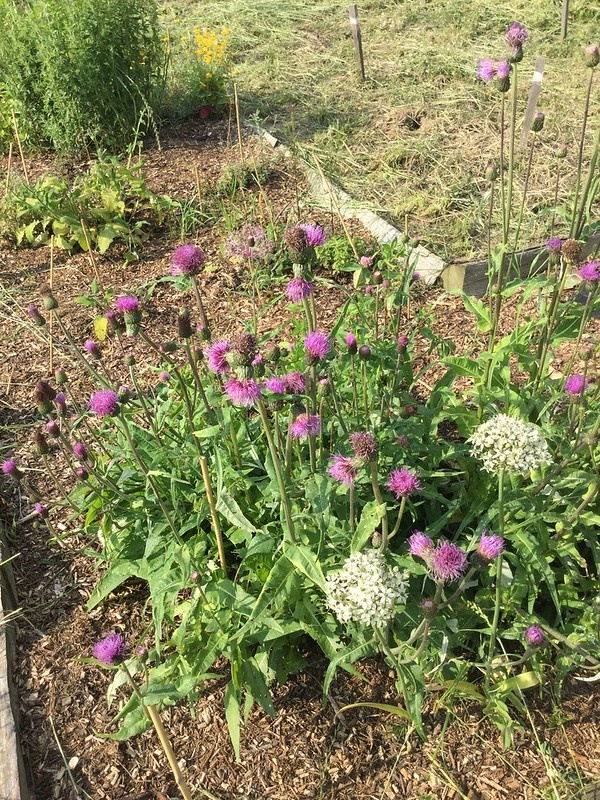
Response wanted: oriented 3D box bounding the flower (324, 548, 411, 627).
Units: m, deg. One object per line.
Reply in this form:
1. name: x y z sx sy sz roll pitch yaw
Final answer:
1. flower: 0.179 0.505 1.880 0.240 0.153 0.219 24 75 3
